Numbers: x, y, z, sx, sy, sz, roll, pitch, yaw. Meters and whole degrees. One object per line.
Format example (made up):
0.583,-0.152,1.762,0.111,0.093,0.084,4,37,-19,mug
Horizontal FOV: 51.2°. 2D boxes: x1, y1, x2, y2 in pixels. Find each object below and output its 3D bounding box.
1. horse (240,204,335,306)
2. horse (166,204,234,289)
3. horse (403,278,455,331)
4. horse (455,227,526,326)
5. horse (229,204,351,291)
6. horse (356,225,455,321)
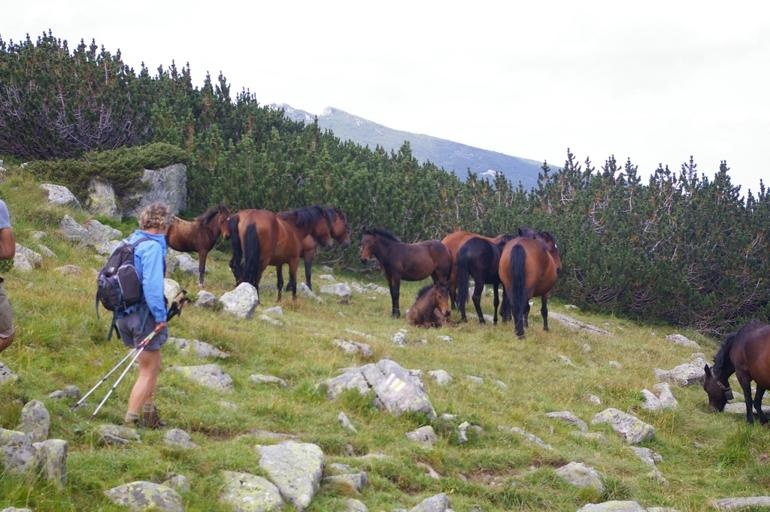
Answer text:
-3.670,-0.026,29.292,1.205,3.421,4.486,5,1,33,horse
-7.270,-0.327,30.126,3.556,2.710,0.935,0,0,24,horse
1.600,1.877,29.395,0.803,1.543,2.350,-3,-12,-34,horse
4.207,0.849,31.893,1.252,3.836,5.061,0,-2,36,horse
-3.604,-0.098,29.535,1.412,3.318,5.140,4,4,32,horse
0.964,0.664,31.352,4.118,3.249,1.077,0,2,-24,horse
